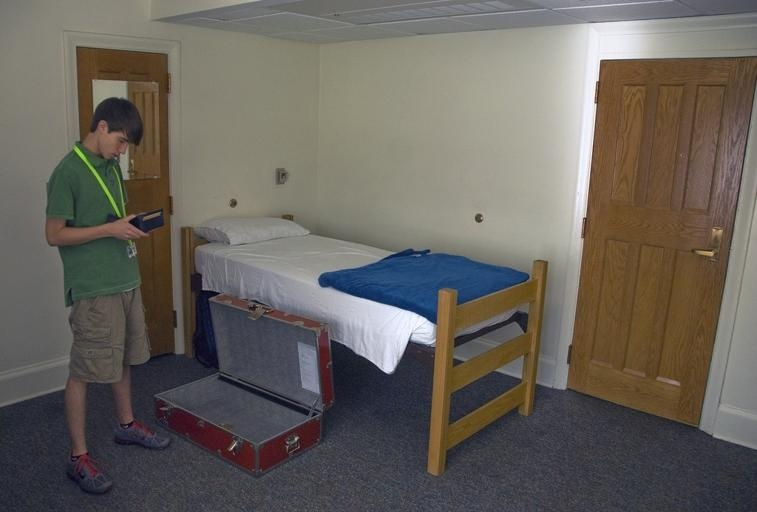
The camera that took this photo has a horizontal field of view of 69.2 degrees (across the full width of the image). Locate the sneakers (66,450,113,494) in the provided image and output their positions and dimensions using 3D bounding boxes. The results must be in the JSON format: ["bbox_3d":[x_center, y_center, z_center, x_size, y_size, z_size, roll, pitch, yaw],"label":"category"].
[{"bbox_3d":[-1.751,1.323,3.390,0.330,0.150,0.160,21,23,28],"label":"sneakers"}]

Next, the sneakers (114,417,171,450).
[{"bbox_3d":[-1.576,1.203,3.750,0.418,0.178,0.155,7,19,-6],"label":"sneakers"}]

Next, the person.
[{"bbox_3d":[-1.707,0.216,3.387,0.540,2.282,0.802,9,20,28],"label":"person"}]
